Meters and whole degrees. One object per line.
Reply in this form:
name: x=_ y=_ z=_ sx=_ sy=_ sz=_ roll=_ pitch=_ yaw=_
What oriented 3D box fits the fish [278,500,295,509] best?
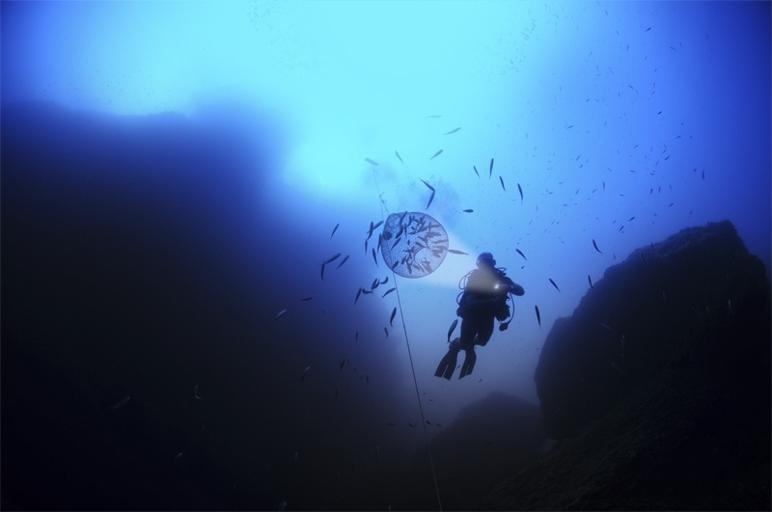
fish: x=-2.395 y=5.904 z=15.084 sx=0.338 sy=0.186 sz=0.064 roll=5 pitch=-32 yaw=-3
